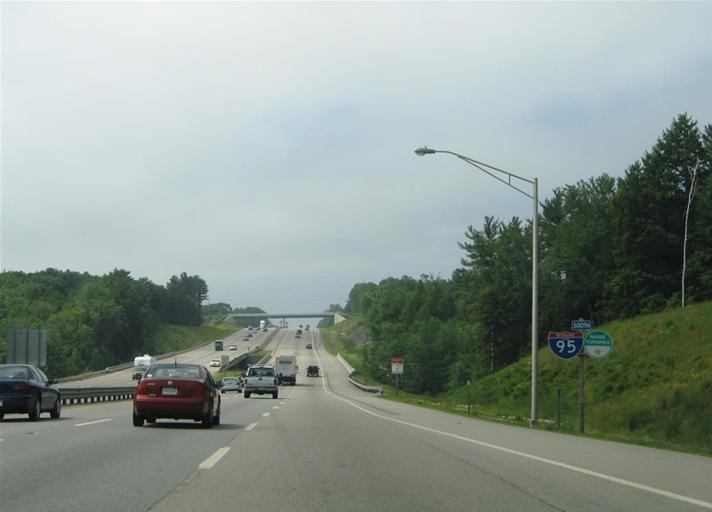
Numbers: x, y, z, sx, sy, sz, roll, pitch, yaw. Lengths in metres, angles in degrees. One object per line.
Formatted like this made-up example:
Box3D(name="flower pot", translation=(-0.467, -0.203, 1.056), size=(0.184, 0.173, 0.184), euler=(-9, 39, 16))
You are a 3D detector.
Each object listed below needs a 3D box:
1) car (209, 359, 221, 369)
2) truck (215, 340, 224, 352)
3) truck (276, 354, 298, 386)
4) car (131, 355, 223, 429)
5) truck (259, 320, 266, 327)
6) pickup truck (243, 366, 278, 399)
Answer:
Box3D(name="car", translation=(-19.914, 15.259, 129.052), size=(0.901, 0.825, 2.156), euler=(0, 6, -5))
Box3D(name="truck", translation=(-24.912, 16.226, 164.384), size=(0.982, 1.567, 2.861), euler=(0, -9, -4))
Box3D(name="truck", translation=(-7.035, 11.486, 93.043), size=(1.486, 2.092, 3.341), euler=(0, 1, 1))
Box3D(name="car", translation=(-7.161, 5.520, 35.684), size=(2.895, 2.611, 1.215), euler=(-3, -8, -19))
Box3D(name="truck", translation=(-25.248, 18.037, 244.464), size=(2.101, 2.526, 4.106), euler=(1, -8, -5))
Box3D(name="pickup truck", translation=(-6.431, 8.507, 61.357), size=(2.051, 2.303, 2.018), euler=(-6, -9, 0))
